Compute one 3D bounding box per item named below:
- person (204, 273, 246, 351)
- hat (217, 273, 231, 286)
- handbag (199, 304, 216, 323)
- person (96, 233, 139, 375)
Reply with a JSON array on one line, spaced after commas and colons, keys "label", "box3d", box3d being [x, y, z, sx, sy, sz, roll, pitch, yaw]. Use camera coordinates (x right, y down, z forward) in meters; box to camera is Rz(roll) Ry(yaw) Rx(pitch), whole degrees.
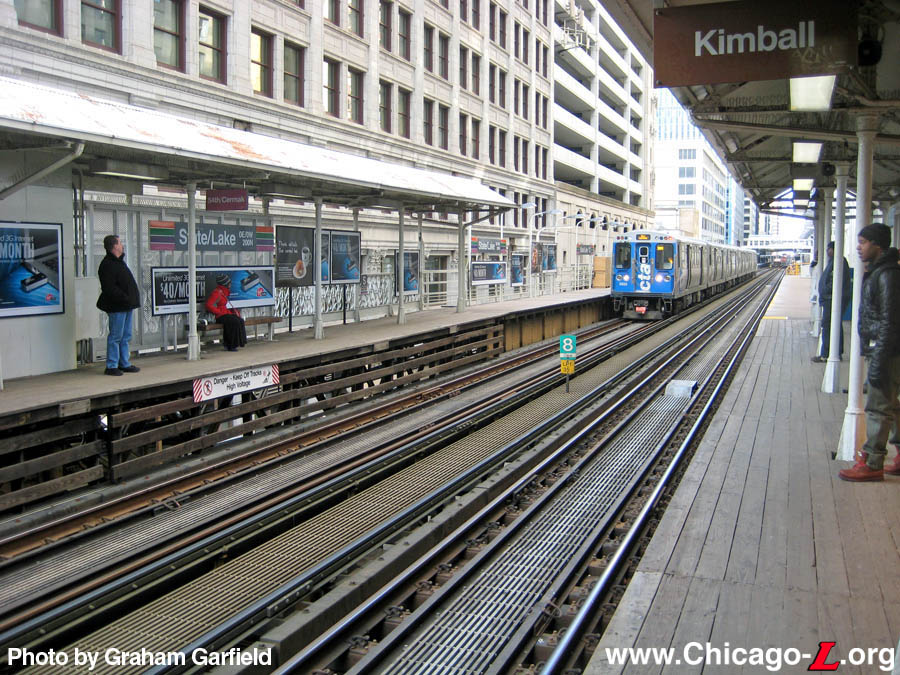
[{"label": "person", "box3d": [-4.410, -0.495, 14.280, 0.696, 1.344, 0.578, 6, 10, 22]}, {"label": "hat", "box3d": [-4.439, -1.142, 14.266, 0.170, 0.182, 0.217, 27, 36, 33]}, {"label": "handbag", "box3d": [-4.781, -0.498, 14.336, 0.262, 0.396, 0.363, 2, 6, 12]}, {"label": "person", "box3d": [-5.131, -0.520, 11.236, 0.562, 2.084, 0.733, -2, 10, -25]}]
